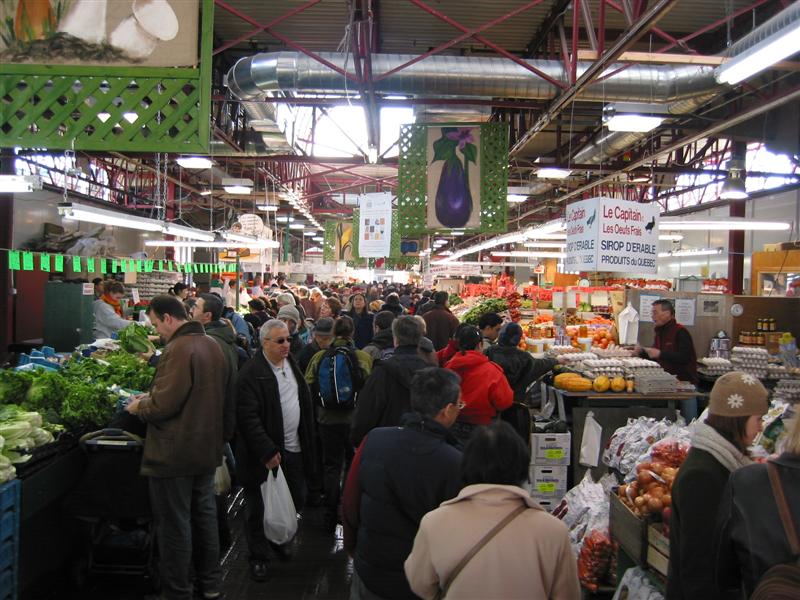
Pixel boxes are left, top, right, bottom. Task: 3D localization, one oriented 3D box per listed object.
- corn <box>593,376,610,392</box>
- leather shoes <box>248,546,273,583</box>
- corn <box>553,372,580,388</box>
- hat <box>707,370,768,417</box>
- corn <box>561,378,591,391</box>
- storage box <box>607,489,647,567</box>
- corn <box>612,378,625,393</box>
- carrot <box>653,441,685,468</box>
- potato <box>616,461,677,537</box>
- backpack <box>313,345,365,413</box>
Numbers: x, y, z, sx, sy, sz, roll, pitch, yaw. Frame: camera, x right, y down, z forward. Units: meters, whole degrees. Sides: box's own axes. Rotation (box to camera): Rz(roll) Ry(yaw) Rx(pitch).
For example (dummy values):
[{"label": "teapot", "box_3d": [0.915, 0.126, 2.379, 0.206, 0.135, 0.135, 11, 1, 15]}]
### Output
[{"label": "corn", "box_3d": [2.115, 0.858, 6.361, 0.237, 0.136, 0.117, 1, 2, -30]}, {"label": "leather shoes", "box_3d": [-1.161, 2.154, 5.056, 0.152, 0.248, 0.166, 2, 2, -15]}, {"label": "corn", "box_3d": [1.739, 0.831, 6.411, 0.157, 0.071, 0.163, -8, 13, 1]}, {"label": "hat", "box_3d": [1.868, 0.526, 3.452, 0.296, 0.210, 0.213, -1, -2, 3]}, {"label": "corn", "box_3d": [1.806, 0.856, 6.348, 0.175, 0.067, 0.180, 5, 4, -4]}, {"label": "storage box", "box_3d": [1.511, 1.507, 4.077, 0.289, 0.243, 0.409, 0, 4, -5]}, {"label": "corn", "box_3d": [2.268, 0.876, 6.357, 0.107, 0.118, 0.150, -3, -2, 14]}, {"label": "carrot", "box_3d": [1.874, 1.052, 4.260, 0.144, 0.055, 0.150, 1, 11, 11]}, {"label": "potato", "box_3d": [1.657, 1.268, 4.036, 0.308, 0.450, 0.353, 1, 5, -12]}, {"label": "backpack", "box_3d": [-0.556, 0.701, 5.696, 0.401, 0.610, 0.388, -1, 7, -16]}]
